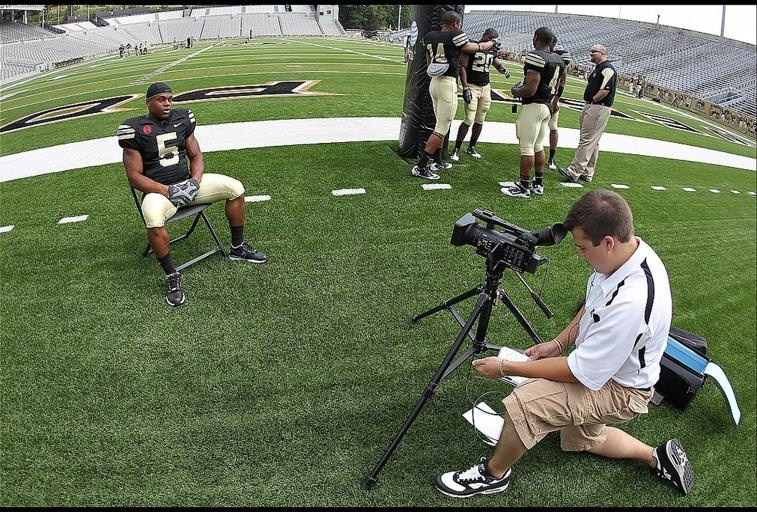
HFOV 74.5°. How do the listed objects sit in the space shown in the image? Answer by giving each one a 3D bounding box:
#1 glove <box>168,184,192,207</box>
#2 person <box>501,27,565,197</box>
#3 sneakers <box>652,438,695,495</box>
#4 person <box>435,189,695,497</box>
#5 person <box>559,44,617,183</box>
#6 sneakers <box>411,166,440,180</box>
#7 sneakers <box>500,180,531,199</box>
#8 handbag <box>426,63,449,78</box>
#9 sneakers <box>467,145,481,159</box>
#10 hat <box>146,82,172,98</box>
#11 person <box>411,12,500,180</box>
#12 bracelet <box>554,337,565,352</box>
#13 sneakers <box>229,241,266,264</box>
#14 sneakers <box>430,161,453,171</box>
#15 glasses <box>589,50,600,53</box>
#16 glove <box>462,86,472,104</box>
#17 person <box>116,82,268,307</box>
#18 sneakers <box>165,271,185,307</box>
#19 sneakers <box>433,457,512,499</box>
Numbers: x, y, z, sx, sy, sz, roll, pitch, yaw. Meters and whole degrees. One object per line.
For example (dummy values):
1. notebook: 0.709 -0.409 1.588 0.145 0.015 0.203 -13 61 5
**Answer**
1. glove: -2.024 -0.654 5.311 0.210 0.209 0.106 -11 28 -20
2. person: 2.145 -2.102 7.300 0.640 2.288 1.219 7 28 16
3. sneakers: 2.131 1.583 3.868 0.216 0.456 0.226 -25 3 40
4. person: 1.493 0.656 3.666 1.669 2.165 0.875 -1 27 0
5. person: 3.278 -2.329 8.146 0.562 2.063 1.420 9 28 20
6. sneakers: 0.660 -1.287 7.687 0.484 0.204 0.178 5 33 -3
7. sneakers: 1.929 -1.004 7.405 0.419 0.159 0.240 8 26 6
8. handbag: 0.798 -2.732 7.293 0.311 0.218 0.134 20 33 36
9. sneakers: 1.631 -1.832 8.728 0.133 0.147 0.336 -22 41 -26
10. hat: -2.237 -1.765 5.340 0.265 0.152 0.250 0 22 8
11. person: 0.973 -2.440 7.575 0.698 2.356 1.281 13 30 26
12. bracelet: 1.360 0.710 4.014 0.090 0.103 0.040 -2 -14 -41
13. sneakers: -1.438 -0.033 5.696 0.507 0.204 0.182 2 14 -5
14. sneakers: 0.965 -1.466 8.057 0.393 0.146 0.143 -6 24 -14
15. glasses: 3.163 -3.188 7.714 0.102 0.026 0.074 1 6 -14
16. glove: 1.271 -2.461 7.602 0.094 0.230 0.174 -1 31 3
17. person: -2.008 -0.785 5.341 1.105 1.977 1.094 -23 34 -36
18. sneakers: -2.009 0.330 5.121 0.183 0.260 0.305 -13 28 -22
19. sneakers: 0.646 1.658 3.804 0.660 0.260 0.221 0 28 -2
